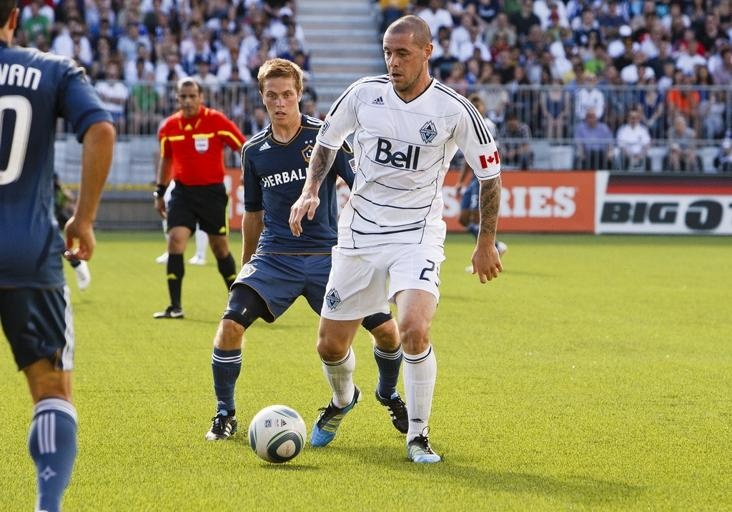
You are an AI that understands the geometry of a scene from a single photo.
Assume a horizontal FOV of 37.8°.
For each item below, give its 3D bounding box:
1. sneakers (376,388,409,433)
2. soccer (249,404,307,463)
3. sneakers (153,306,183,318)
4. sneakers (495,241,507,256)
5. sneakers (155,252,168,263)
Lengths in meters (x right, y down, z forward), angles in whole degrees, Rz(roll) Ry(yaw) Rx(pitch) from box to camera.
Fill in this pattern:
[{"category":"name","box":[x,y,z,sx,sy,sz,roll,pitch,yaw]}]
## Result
[{"category":"sneakers","box":[0.190,1.046,7.130,0.112,0.312,0.129,-28,-14,-39]},{"category":"soccer","box":[-0.519,1.123,6.717,0.333,0.331,0.321,11,-15,7]},{"category":"sneakers","box":[-1.855,0.552,10.233,0.329,0.141,0.112,3,-2,-6]},{"category":"sneakers","box":[1.555,-0.078,12.336,0.111,0.156,0.340,-6,-14,4]},{"category":"sneakers","box":[-2.548,0.029,13.379,0.124,0.148,0.342,6,6,-23]}]
